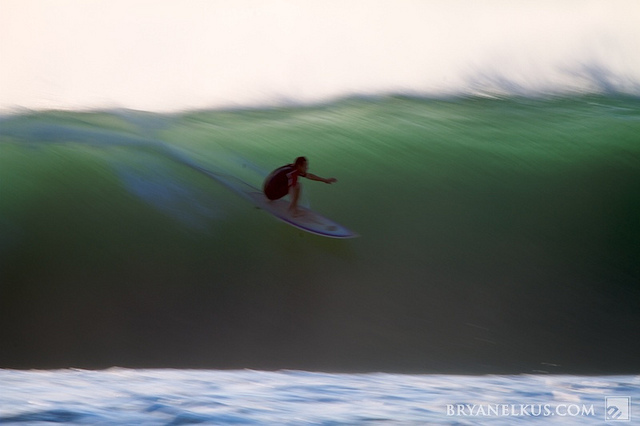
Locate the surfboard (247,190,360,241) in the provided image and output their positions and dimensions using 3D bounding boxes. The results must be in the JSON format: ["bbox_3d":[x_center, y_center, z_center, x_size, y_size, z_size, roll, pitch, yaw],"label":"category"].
[{"bbox_3d":[-0.198,0.042,6.021,0.952,0.086,0.168,22,63,-5],"label":"surfboard"}]

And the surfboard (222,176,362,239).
[{"bbox_3d":[-0.311,-0.032,6.023,1.154,0.115,0.178,23,63,1],"label":"surfboard"}]
